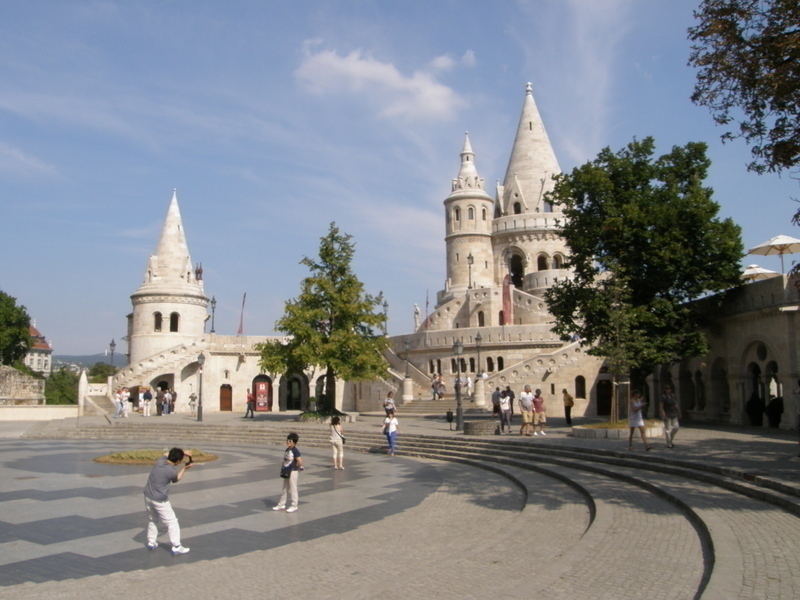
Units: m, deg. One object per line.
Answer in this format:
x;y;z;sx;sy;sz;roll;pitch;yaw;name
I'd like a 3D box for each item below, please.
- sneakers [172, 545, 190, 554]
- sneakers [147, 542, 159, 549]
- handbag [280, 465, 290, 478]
-4.241;4.859;16.199;0.256;0.164;0.409;-3;-9;25;sneakers
-4.850;4.848;16.412;0.157;0.136;0.152;-1;-3;-11;sneakers
-2.605;3.946;19.048;0.192;0.266;0.285;2;-8;-12;handbag
